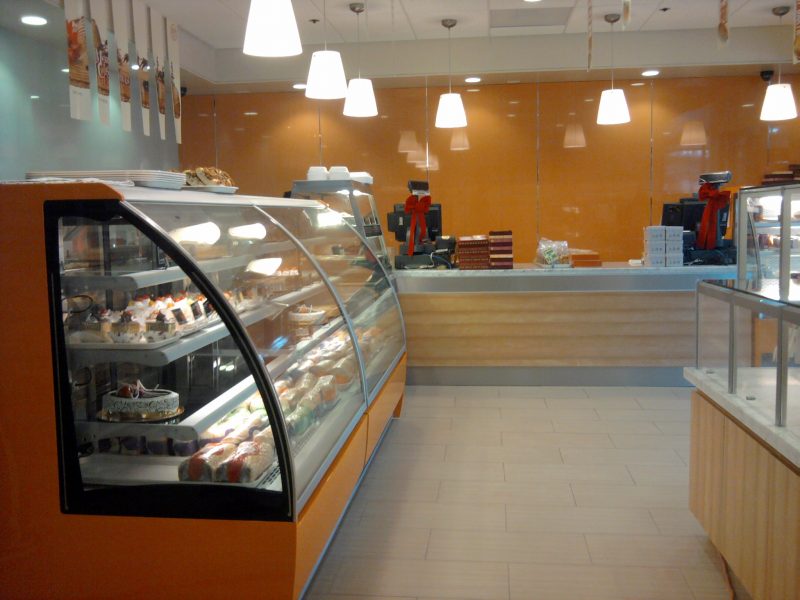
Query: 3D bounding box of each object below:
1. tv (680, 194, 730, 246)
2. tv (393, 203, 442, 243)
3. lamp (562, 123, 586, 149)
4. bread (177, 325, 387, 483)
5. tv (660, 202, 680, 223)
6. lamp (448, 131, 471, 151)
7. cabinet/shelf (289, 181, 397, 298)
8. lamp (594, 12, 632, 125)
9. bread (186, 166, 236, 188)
[{"bbox_3d":[2.525,-0.702,5.399,0.475,0.332,0.493,3,5,-25],"label":"tv"},{"bbox_3d":[0.167,-0.719,5.800,0.569,0.480,0.311,1,10,5],"label":"tv"},{"bbox_3d":[1.959,-1.830,7.223,0.297,0.283,0.236,0,0,4],"label":"lamp"},{"bbox_3d":[-0.382,0.383,2.534,0.524,0.439,1.502,-6,1,12],"label":"bread"},{"bbox_3d":[2.372,-0.750,5.539,0.151,0.181,0.481,3,12,23],"label":"tv"},{"bbox_3d":[0.698,-1.822,7.379,0.214,0.202,0.219,1,3,20],"label":"lamp"},{"bbox_3d":[-0.397,-0.554,5.004,0.711,1.157,0.946,1,7,17],"label":"cabinet/shelf"},{"bbox_3d":[2.125,-2.261,6.298,0.352,1.059,1.750,2,12,19],"label":"lamp"},{"bbox_3d":[-0.856,-0.551,2.842,0.158,0.073,0.240,-2,12,-5],"label":"bread"}]
